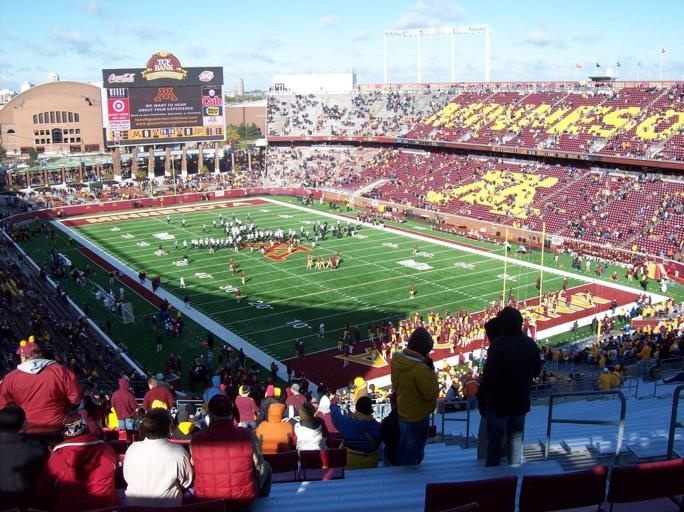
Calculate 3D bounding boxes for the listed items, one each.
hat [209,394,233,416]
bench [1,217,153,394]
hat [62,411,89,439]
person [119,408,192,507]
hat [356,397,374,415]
[{"bbox_3d":[-1.138,1.358,6.277,0.179,0.117,0.238,1,20,-15],"label":"hat"},{"bbox_3d":[-10.360,1.695,26.499,0.749,0.223,9.583,-47,47,-15],"label":"bench"},{"bbox_3d":[-2.308,1.463,5.881,0.188,0.210,0.221,1,11,-6],"label":"hat"},{"bbox_3d":[-1.611,1.787,5.869,0.586,0.887,0.427,-5,16,-18],"label":"person"},{"bbox_3d":[0.274,1.685,7.763,0.178,0.187,0.223,3,32,13],"label":"hat"}]
